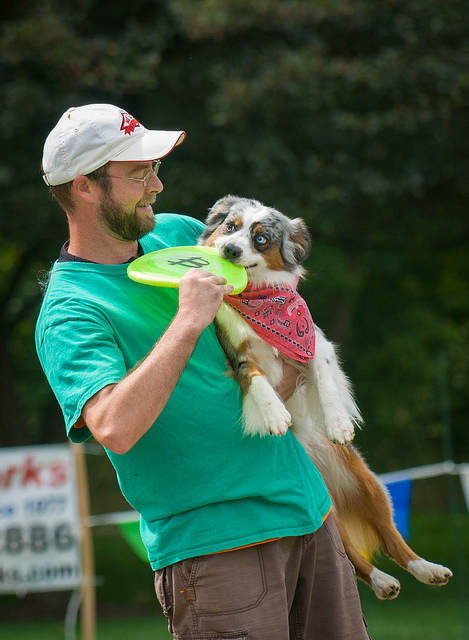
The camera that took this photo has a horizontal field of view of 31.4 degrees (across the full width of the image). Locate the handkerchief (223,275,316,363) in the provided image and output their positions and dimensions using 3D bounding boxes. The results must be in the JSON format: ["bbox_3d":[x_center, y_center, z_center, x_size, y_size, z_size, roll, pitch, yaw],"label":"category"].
[{"bbox_3d":[0.182,-0.010,3.627,0.383,0.349,0.309,-4,6,-39],"label":"handkerchief"}]

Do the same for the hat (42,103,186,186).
[{"bbox_3d":[-0.484,-0.696,3.474,0.467,0.319,0.498,2,3,31],"label":"hat"}]

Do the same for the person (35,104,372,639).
[{"bbox_3d":[-0.209,0.250,3.205,0.958,2.030,1.276,-12,24,-16],"label":"person"}]

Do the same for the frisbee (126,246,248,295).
[{"bbox_3d":[-0.202,-0.225,3.387,0.493,0.212,0.541,-5,4,-18],"label":"frisbee"}]
